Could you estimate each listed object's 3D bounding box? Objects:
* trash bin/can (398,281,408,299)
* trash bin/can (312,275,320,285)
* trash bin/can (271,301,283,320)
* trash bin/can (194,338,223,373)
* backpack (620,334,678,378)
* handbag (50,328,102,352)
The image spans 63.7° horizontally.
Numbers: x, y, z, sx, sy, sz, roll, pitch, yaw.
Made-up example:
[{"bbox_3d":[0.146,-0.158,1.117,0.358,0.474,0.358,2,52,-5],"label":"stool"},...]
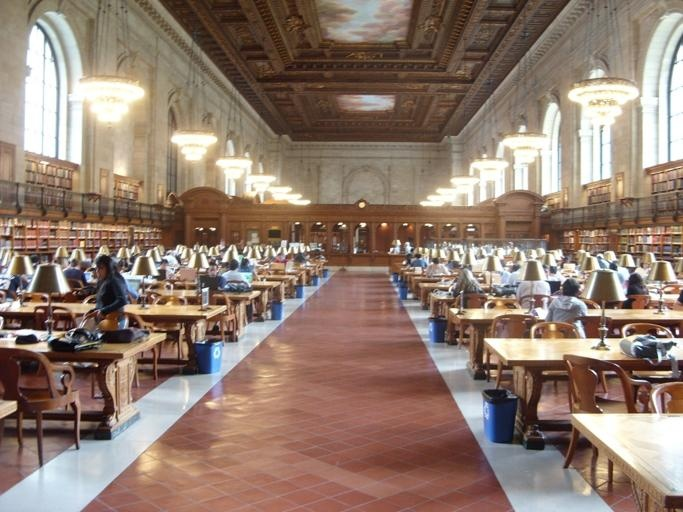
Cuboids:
[{"bbox_3d":[1.842,1.107,16.526,0.411,0.411,0.388,0,-11,2],"label":"trash bin/can"},{"bbox_3d":[-1.014,0.976,21.478,0.325,0.402,0.308,1,-5,-5],"label":"trash bin/can"},{"bbox_3d":[-1.402,1.228,12.329,0.412,0.443,0.355,1,-5,-5],"label":"trash bin/can"},{"bbox_3d":[-1.817,1.436,7.943,0.414,0.466,0.574,-2,-4,10],"label":"trash bin/can"},{"bbox_3d":[2.995,0.951,5.350,0.461,0.150,0.447,1,0,20],"label":"backpack"},{"bbox_3d":[-2.700,0.879,5.669,0.282,0.114,0.342,0,-4,9],"label":"handbag"}]
